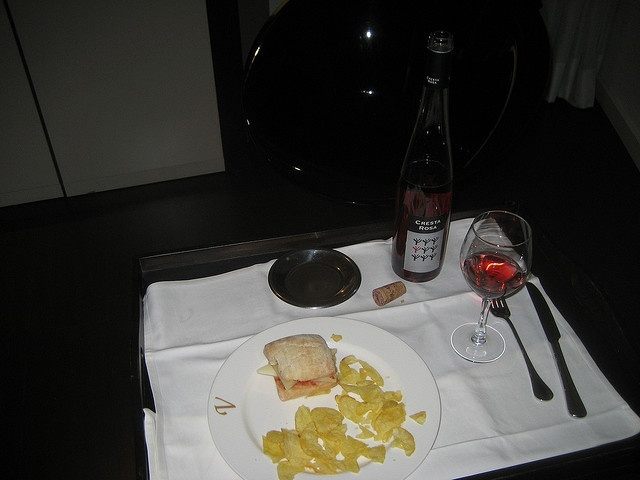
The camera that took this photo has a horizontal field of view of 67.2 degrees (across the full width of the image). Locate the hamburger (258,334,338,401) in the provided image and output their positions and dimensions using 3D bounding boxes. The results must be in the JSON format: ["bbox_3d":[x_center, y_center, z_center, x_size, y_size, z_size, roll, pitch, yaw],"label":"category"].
[{"bbox_3d":[-0.044,0.245,0.962,0.131,0.073,0.133,-2,25,-26],"label":"hamburger"}]

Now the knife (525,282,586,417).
[{"bbox_3d":[0.523,0.266,1.042,0.057,0.466,0.030,-33,29,-3],"label":"knife"}]

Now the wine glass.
[{"bbox_3d":[0.357,0.098,1.012,0.127,0.323,0.129,-8,31,-15],"label":"wine glass"}]

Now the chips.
[{"bbox_3d":[0.042,0.313,0.886,0.299,0.039,0.221,-8,49,-5],"label":"chips"}]
